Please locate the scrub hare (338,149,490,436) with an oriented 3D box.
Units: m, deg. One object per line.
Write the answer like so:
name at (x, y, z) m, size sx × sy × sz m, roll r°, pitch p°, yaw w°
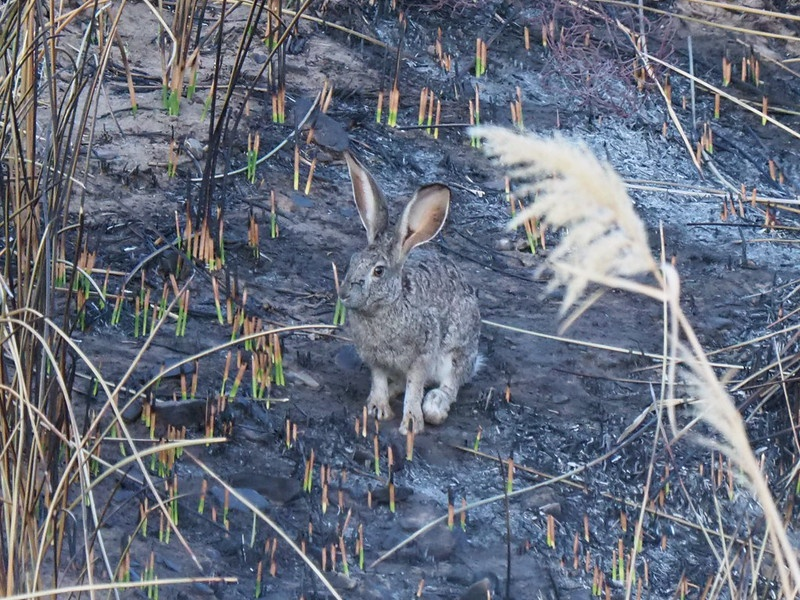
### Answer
scrub hare at (0.075, 0.011, 7.040) m, size 0.718 × 1.930 × 1.338 m, roll 20°, pitch 35°, yaw 32°
